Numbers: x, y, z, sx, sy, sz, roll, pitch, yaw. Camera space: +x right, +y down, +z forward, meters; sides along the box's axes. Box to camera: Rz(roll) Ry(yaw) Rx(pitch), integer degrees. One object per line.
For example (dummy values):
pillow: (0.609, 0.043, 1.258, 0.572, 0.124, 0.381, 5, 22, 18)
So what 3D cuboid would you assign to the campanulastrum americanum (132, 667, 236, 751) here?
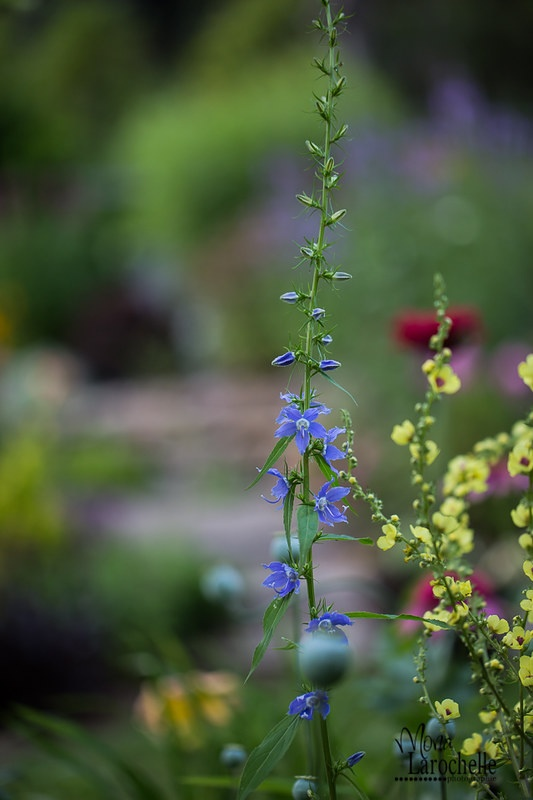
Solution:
campanulastrum americanum: (-0.086, 0.343, 1.061, 0.115, 0.083, 0.034, 2, -31, -6)

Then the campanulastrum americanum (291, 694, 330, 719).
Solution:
campanulastrum americanum: (0.032, 0.263, 0.817, 0.033, 0.022, 0.039, 7, -28, -14)

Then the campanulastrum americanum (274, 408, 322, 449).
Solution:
campanulastrum americanum: (0.028, 0.024, 0.809, 0.041, 0.044, 0.031, -1, -30, 0)
